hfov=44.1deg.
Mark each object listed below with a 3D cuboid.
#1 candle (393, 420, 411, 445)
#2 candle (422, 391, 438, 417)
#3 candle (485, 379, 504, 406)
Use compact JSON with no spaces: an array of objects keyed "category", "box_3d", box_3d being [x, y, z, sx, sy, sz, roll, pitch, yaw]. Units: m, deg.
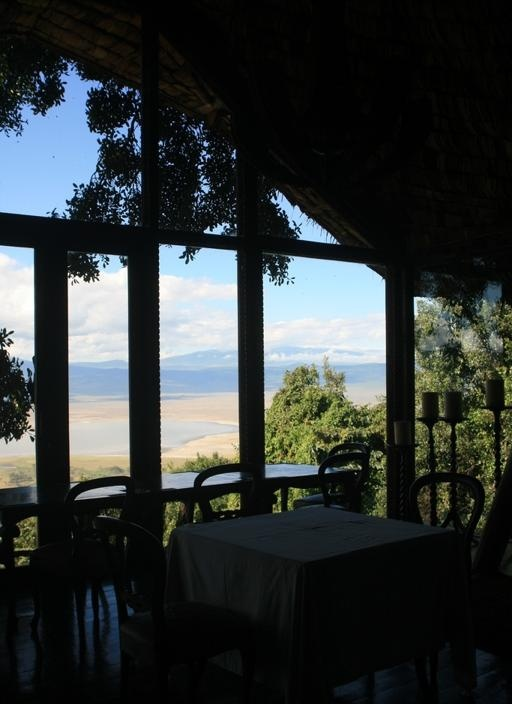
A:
[{"category":"candle","box_3d":[0.584,0.326,2.527,0.060,0.094,0.112,-1,-5,12]},{"category":"candle","box_3d":[0.731,0.229,2.664,0.058,0.112,0.092,-1,-5,12]},{"category":"candle","box_3d":[1.013,0.182,2.687,0.068,0.130,0.085,-2,-5,17]}]
